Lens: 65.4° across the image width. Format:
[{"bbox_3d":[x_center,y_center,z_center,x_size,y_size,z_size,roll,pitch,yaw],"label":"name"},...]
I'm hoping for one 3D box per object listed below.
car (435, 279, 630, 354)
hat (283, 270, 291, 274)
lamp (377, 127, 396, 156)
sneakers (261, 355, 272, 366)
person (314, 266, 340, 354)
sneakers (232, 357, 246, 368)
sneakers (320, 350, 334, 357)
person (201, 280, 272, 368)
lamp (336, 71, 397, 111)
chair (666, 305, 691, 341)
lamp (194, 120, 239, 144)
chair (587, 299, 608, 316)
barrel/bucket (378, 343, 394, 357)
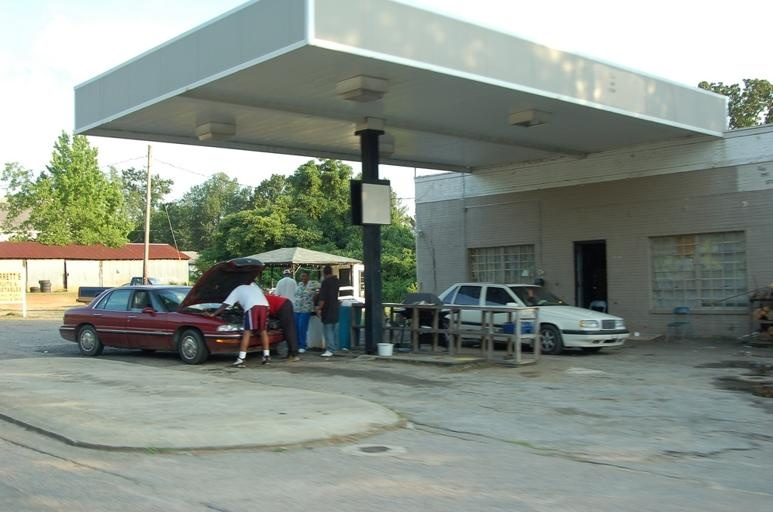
[{"bbox_3d":[3.686,1.586,15.057,3.875,1.736,2.073,0,1,30],"label":"car"},{"bbox_3d":[-2.693,0.423,16.394,0.364,0.106,0.427,-1,-3,-10],"label":"hat"},{"bbox_3d":[0.024,-3.164,16.957,0.662,0.746,1.083,1,-3,-7],"label":"lamp"},{"bbox_3d":[-2.619,2.297,13.256,0.151,0.113,0.324,1,-1,-19],"label":"sneakers"},{"bbox_3d":[-1.375,1.318,14.319,0.497,2.166,0.932,0,1,-7],"label":"person"},{"bbox_3d":[-3.150,2.267,12.881,0.287,0.218,0.353,0,0,-12],"label":"sneakers"},{"bbox_3d":[-1.369,2.368,14.500,0.350,0.110,0.125,8,-9,-42],"label":"sneakers"},{"bbox_3d":[-3.018,1.505,13.044,0.920,1.735,0.551,-1,1,-29],"label":"person"},{"bbox_3d":[-0.380,-3.477,12.420,0.687,0.264,0.683,2,-2,-32],"label":"lamp"},{"bbox_3d":[8.497,1.928,17.390,0.615,0.899,0.513,0,1,13],"label":"chair"},{"bbox_3d":[-4.314,-3.182,15.225,0.578,0.311,0.814,-4,-3,45],"label":"lamp"},{"bbox_3d":[6.630,1.588,18.652,0.708,0.742,0.665,-2,-10,14],"label":"chair"},{"bbox_3d":[-0.001,2.198,14.031,0.347,0.274,0.365,0,0,0],"label":"barrel/bucket"}]
